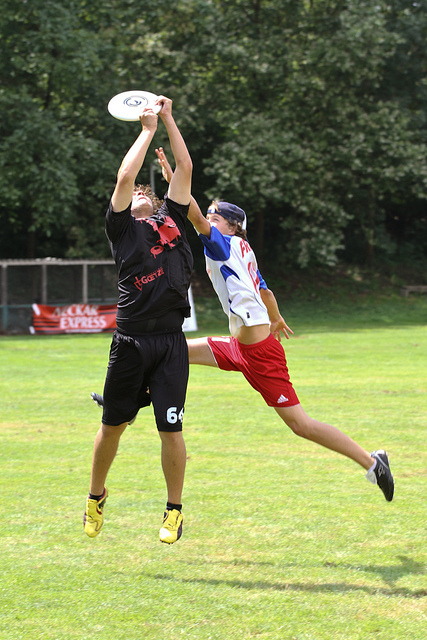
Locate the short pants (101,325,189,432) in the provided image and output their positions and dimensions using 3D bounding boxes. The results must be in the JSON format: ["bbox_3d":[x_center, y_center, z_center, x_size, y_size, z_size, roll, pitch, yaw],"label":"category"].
[{"bbox_3d":[-0.313,0.262,3.477,0.399,0.481,0.219,-2,5,-5],"label":"short pants"}]

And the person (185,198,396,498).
[{"bbox_3d":[0.314,0.081,4.343,0.915,1.450,1.337,-2,5,-3],"label":"person"}]

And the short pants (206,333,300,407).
[{"bbox_3d":[0.220,0.247,4.049,0.212,0.359,0.664,-5,5,-28],"label":"short pants"}]

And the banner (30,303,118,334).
[{"bbox_3d":[-3.188,-0.043,17.444,1.932,0.700,0.518,-2,5,-8],"label":"banner"}]

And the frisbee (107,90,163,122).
[{"bbox_3d":[-0.392,-1.024,3.829,0.295,0.236,0.055,-7,-44,-6],"label":"frisbee"}]
